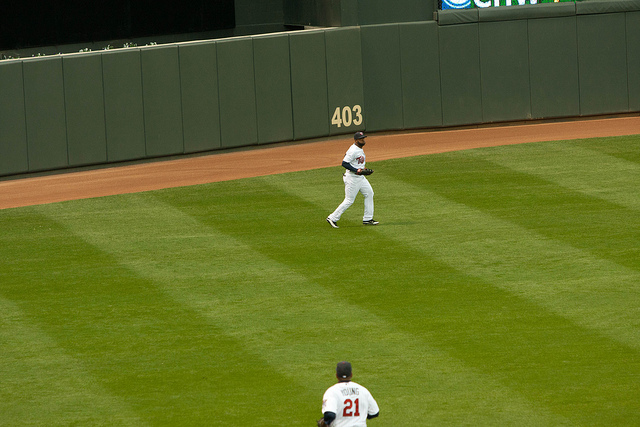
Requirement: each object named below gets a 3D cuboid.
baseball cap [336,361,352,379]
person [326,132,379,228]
[{"bbox_3d":[0.325,2.265,18.249,0.305,0.185,0.451,0,0,0],"label":"baseball cap"},{"bbox_3d":[0.666,-0.661,25.763,0.997,1.952,0.840,1,8,17],"label":"person"}]
